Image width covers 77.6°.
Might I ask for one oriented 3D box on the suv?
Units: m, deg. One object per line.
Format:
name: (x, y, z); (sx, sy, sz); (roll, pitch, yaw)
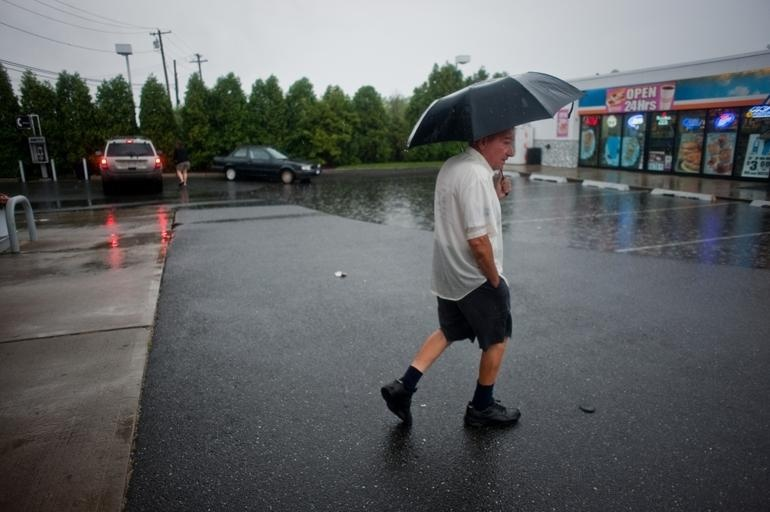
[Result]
suv: (-10.235, -3.526, 19.491); (2.181, 2.019, 3.902); (-4, 9, -24)

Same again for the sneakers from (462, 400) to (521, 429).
sneakers: (0.970, 1.417, 4.383); (0.506, 0.248, 0.207); (-1, 4, -8)

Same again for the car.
car: (-5.476, -4.193, 22.891); (4.666, 1.676, 2.137); (6, 16, 21)
